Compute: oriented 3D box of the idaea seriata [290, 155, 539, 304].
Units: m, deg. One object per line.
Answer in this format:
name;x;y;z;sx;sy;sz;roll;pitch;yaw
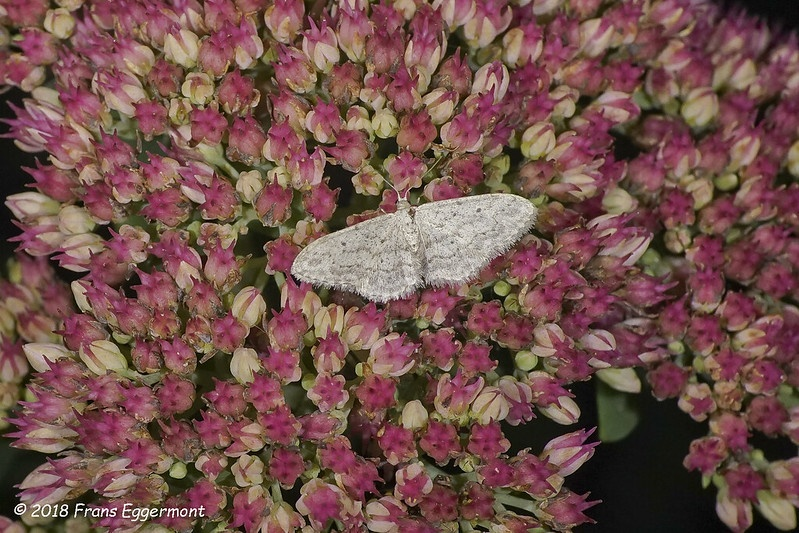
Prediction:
idaea seriata;0.059;-0.072;2.253;0.619;0.084;0.254;-11;58;39
